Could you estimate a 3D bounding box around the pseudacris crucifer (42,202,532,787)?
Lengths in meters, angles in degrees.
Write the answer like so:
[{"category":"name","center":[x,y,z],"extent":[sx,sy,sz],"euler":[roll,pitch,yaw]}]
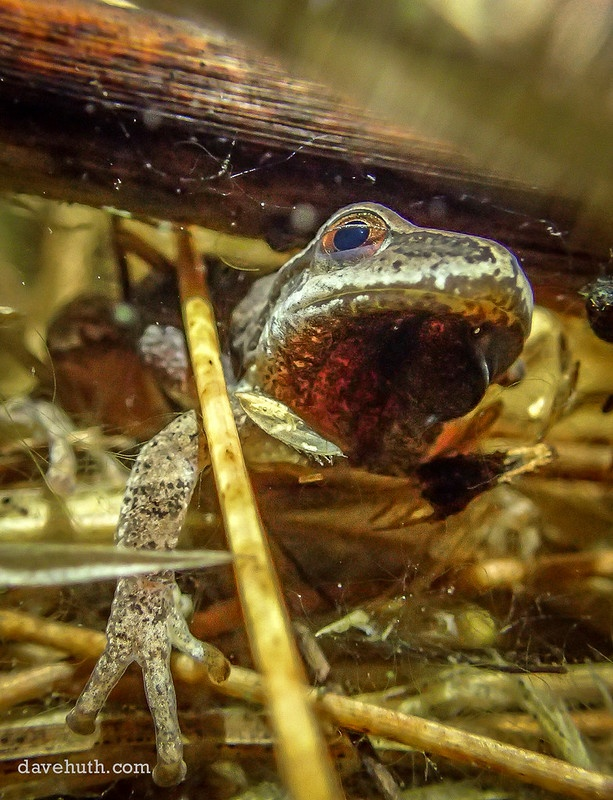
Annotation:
[{"category":"pseudacris crucifer","center":[-0.108,0.075,0.949],"extent":[0.414,0.675,0.434],"euler":[33,29,17]}]
